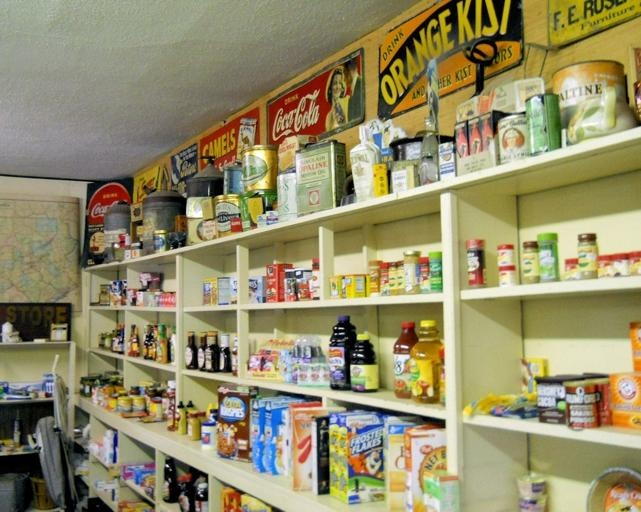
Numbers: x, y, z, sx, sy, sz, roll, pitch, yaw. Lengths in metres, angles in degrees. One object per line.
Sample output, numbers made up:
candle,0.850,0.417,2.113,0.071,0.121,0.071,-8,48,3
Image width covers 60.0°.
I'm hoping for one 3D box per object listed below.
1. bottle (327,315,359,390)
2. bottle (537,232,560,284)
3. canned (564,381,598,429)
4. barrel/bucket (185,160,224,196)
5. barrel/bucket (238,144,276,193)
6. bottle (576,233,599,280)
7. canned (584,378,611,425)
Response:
bottle,0.122,0.500,2.913,0.225,0.388,0.229,-2,-8,0
bottle,0.836,0.005,2.040,0.070,0.177,0.147,-4,-6,22
canned,0.882,0.503,1.893,0.123,0.138,0.124,0,-5,-17
barrel/bucket,-0.850,-0.603,4.295,0.275,0.297,0.267,2,0,0
barrel/bucket,-0.391,-0.555,3.523,0.266,0.300,0.271,0,-5,0
bottle,0.911,-0.001,1.894,0.063,0.157,0.069,-4,-6,23
canned,0.963,0.502,1.909,0.091,0.134,0.093,5,-12,3
